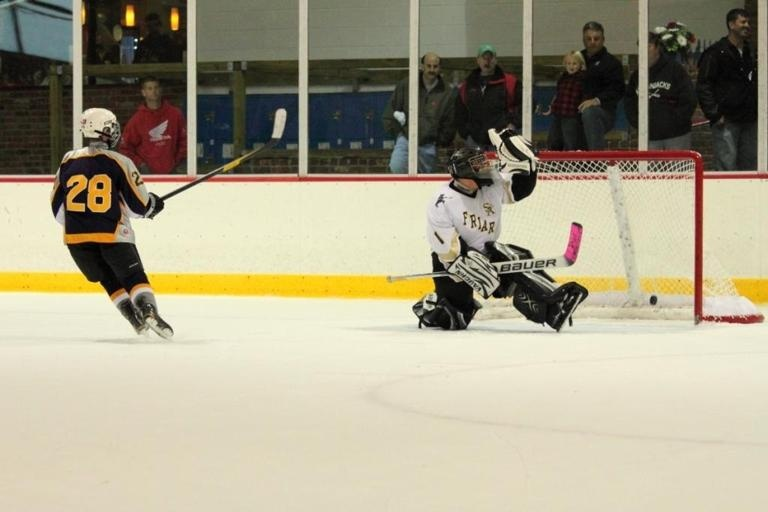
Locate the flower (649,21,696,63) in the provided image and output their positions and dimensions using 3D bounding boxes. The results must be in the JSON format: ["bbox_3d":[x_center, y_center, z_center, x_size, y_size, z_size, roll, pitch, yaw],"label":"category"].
[{"bbox_3d":[2.591,-1.895,9.335,0.371,0.364,0.395,2,0,23],"label":"flower"}]

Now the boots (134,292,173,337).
[{"bbox_3d":[-1.621,0.412,7.224,0.084,0.248,0.171,-38,28,0],"label":"boots"}]

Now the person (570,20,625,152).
[{"bbox_3d":[1.947,-1.538,9.244,0.394,1.133,0.171,2,10,15],"label":"person"}]

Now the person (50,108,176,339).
[{"bbox_3d":[-1.857,-0.252,7.135,1.021,1.513,0.509,6,11,35],"label":"person"}]

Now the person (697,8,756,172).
[{"bbox_3d":[3.052,-1.470,9.163,0.552,1.391,0.134,0,9,0],"label":"person"}]

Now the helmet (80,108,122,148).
[{"bbox_3d":[-2.002,-0.933,7.310,0.294,0.278,0.234,-15,30,-43],"label":"helmet"}]
